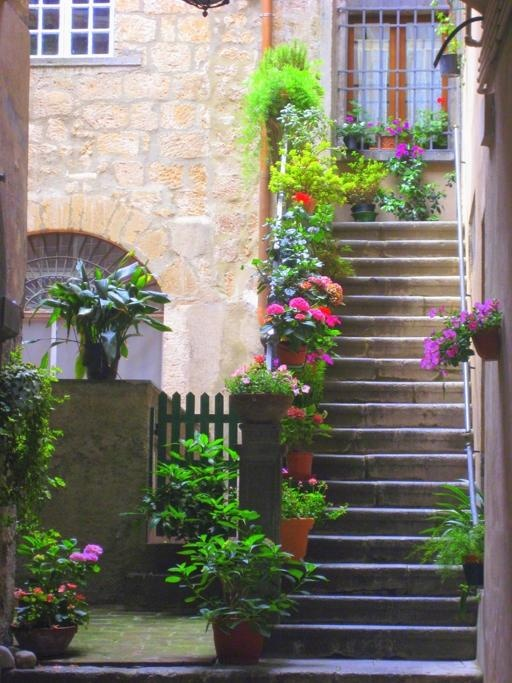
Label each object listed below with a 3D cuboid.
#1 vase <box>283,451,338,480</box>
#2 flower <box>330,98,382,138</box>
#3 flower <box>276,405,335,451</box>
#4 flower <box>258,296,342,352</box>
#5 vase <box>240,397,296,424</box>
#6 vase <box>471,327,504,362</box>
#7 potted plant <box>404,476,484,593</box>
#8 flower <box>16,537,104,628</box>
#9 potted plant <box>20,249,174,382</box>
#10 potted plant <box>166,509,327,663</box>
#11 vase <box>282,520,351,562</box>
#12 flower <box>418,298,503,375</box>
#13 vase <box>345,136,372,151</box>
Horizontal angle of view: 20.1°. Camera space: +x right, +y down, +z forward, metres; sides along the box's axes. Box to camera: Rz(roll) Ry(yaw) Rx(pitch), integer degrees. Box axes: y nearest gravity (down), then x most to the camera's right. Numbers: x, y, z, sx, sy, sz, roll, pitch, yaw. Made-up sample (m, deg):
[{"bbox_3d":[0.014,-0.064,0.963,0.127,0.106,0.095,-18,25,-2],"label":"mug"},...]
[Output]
[{"bbox_3d":[0.336,0.778,9.078,0.213,0.146,0.215,1,-12,-1],"label":"vase"},{"bbox_3d":[0.922,-2.033,13.238,0.395,0.398,0.392,1,-8,-7],"label":"flower"},{"bbox_3d":[0.316,0.553,9.369,0.333,0.330,0.282,-1,-7,-17],"label":"flower"},{"bbox_3d":[0.306,-0.141,10.090,0.523,0.415,0.571,0,-5,0],"label":"flower"},{"bbox_3d":[0.043,0.370,8.097,0.314,0.158,0.158,0,-4,0],"label":"vase"},{"bbox_3d":[1.129,0.014,7.089,0.133,0.156,0.259,0,-5,8],"label":"vase"},{"bbox_3d":[0.893,1.054,7.782,0.429,0.617,0.559,1,-11,3],"label":"potted plant"},{"bbox_3d":[-1.089,1.359,8.146,0.400,0.477,0.397,9,-25,-19],"label":"flower"},{"bbox_3d":[-1.014,-0.235,10.002,1.015,0.990,1.152,7,-20,-17],"label":"potted plant"},{"bbox_3d":[-0.074,1.346,7.882,0.837,0.856,0.779,2,-12,-6],"label":"potted plant"},{"bbox_3d":[0.281,1.125,8.245,0.228,0.239,0.218,0,-13,-3],"label":"vase"},{"bbox_3d":[1.038,-0.017,7.231,0.457,0.297,0.404,-26,-2,6],"label":"flower"},{"bbox_3d":[0.916,-1.808,13.087,0.191,0.090,0.268,1,7,5],"label":"vase"}]
